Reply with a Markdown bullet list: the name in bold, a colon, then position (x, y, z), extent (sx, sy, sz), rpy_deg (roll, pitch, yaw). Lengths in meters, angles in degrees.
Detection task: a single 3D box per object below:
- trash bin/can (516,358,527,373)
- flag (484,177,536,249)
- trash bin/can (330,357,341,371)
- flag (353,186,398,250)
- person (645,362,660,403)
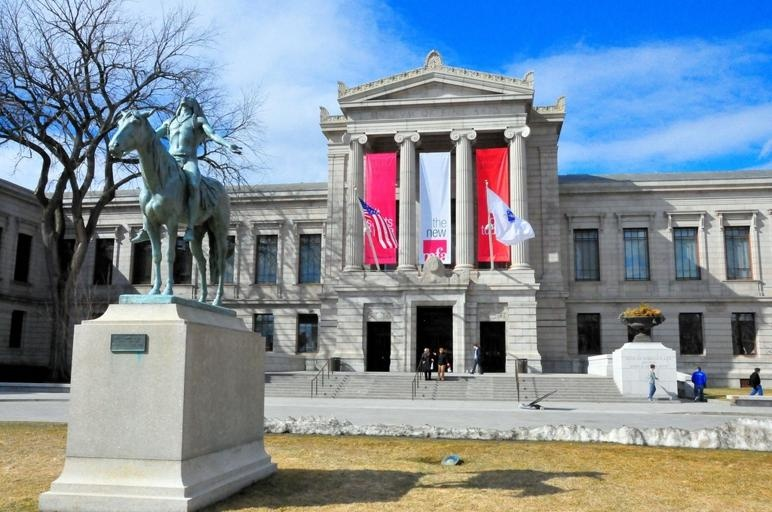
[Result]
- **trash bin/can**: position (8.167, 6.560, 52.473), extent (0.539, 0.867, 1.452), rpy_deg (-1, -6, 11)
- **flag**: position (7.488, -2.530, 54.330), extent (1.752, 3.838, 3.173), rpy_deg (2, -6, -20)
- **trash bin/can**: position (-3.117, 6.761, 54.771), extent (0.746, 0.985, 0.731), rpy_deg (-1, -2, 12)
- **flag**: position (-0.659, -1.904, 55.479), extent (2.474, 3.062, 1.410), rpy_deg (4, -7, -35)
- **person**: position (13.570, 6.451, 44.908), extent (0.474, 1.800, 0.996), rpy_deg (-2, -7, 22)
